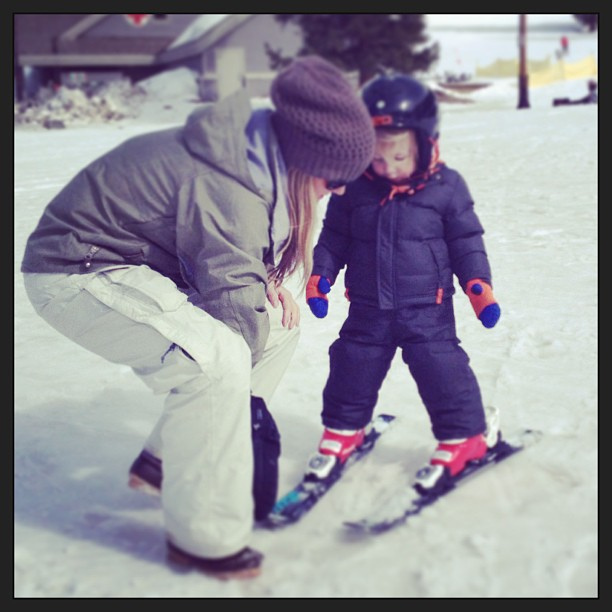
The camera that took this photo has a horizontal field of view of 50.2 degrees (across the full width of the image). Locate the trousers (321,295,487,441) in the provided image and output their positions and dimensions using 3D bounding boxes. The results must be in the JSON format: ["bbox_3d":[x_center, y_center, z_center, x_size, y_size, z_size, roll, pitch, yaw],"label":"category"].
[{"bbox_3d":[0.291,0.188,1.996,0.455,0.432,0.173,1,-1,12],"label":"trousers"}]

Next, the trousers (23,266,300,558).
[{"bbox_3d":[-0.274,0.322,1.761,0.883,0.429,0.617,-24,-15,38],"label":"trousers"}]

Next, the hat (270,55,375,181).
[{"bbox_3d":[0.036,-0.467,1.630,0.260,0.304,0.129,2,10,13],"label":"hat"}]

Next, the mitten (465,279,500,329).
[{"bbox_3d":[0.507,-0.011,1.871,0.044,0.145,0.084,-17,-9,-38],"label":"mitten"}]

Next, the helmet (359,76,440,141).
[{"bbox_3d":[0.281,-0.562,1.933,0.198,0.206,0.264,14,23,32],"label":"helmet"}]

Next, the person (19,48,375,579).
[{"bbox_3d":[-0.344,-0.035,1.816,0.761,1.262,0.682,13,11,27],"label":"person"}]
